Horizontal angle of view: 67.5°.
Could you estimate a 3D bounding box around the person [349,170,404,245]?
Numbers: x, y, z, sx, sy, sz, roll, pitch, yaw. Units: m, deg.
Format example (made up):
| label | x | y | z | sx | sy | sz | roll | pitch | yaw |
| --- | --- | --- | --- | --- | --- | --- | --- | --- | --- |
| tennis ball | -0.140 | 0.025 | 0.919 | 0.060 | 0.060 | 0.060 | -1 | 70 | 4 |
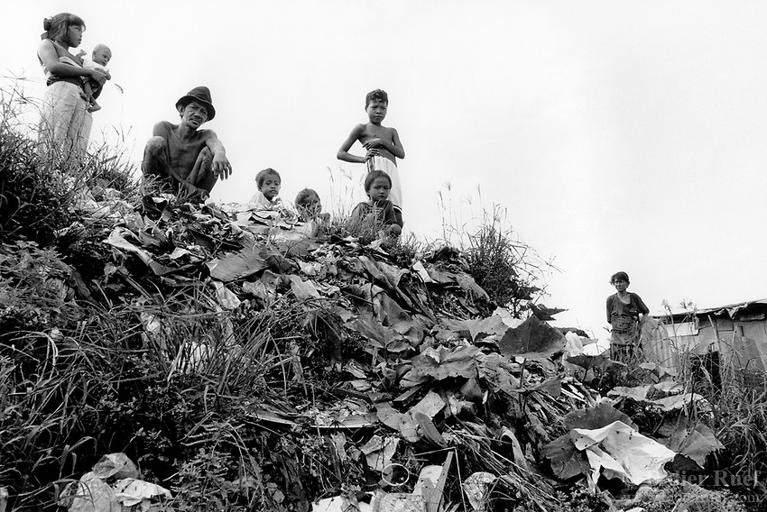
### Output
| label | x | y | z | sx | sy | sz | roll | pitch | yaw |
| --- | --- | --- | --- | --- | --- | --- | --- | --- | --- |
| person | -0.111 | -0.464 | 5.663 | 0.553 | 0.779 | 0.479 | -4 | 4 | -37 |
